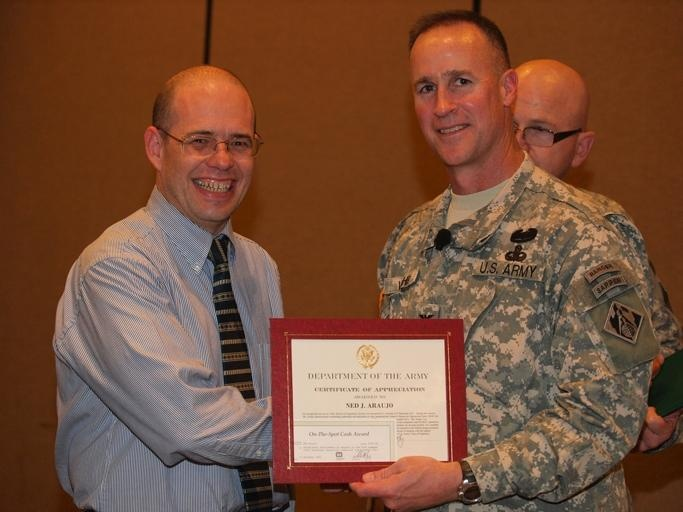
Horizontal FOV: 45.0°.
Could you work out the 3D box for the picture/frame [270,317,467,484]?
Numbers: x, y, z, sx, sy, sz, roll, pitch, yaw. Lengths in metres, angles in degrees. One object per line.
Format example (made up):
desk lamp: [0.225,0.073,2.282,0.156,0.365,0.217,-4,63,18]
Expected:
picture/frame: [0.113,0.545,2.978,0.529,0.502,0.042,-1,-8,0]
